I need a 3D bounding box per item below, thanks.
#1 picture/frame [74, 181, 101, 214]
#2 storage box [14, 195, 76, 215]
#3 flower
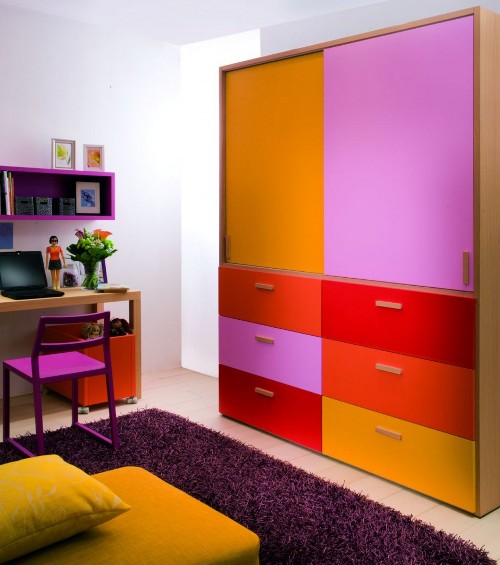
[{"bbox_3d":[-1.197,-0.623,3.463,0.205,0.331,0.010,-2,4,-45],"label":"picture/frame"},{"bbox_3d":[-1.401,-0.524,3.265,0.411,0.160,0.179,-1,3,-39],"label":"storage box"},{"bbox_3d":[-1.100,-0.158,3.279,0.304,0.406,0.187,0,2,-15],"label":"flower"}]
